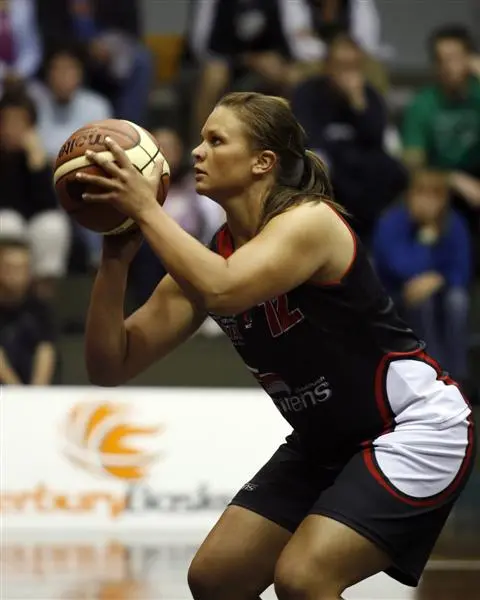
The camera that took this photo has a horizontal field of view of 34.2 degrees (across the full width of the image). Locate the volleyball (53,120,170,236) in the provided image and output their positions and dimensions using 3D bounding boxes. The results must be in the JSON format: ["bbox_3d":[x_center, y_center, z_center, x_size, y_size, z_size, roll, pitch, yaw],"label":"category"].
[{"bbox_3d":[-0.364,-0.336,2.095,0.276,0.305,0.290,-14,21,-40],"label":"volleyball"}]
